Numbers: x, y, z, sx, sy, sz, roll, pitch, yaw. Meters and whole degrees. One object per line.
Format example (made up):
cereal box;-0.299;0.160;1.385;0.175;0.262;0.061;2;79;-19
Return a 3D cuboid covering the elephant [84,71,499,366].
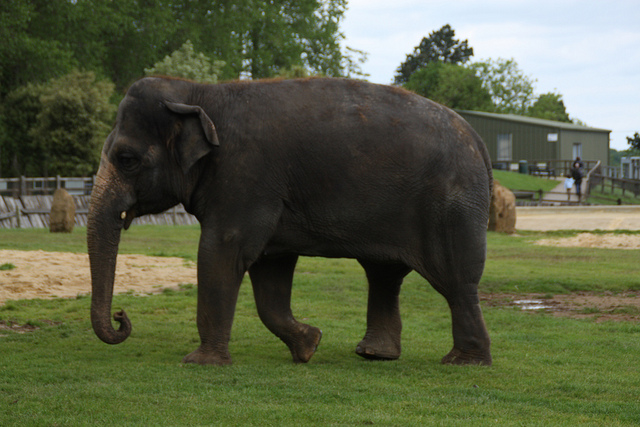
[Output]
elephant;-0.853;0.234;29.108;11.033;7.070;5.559;3;-1;-2
